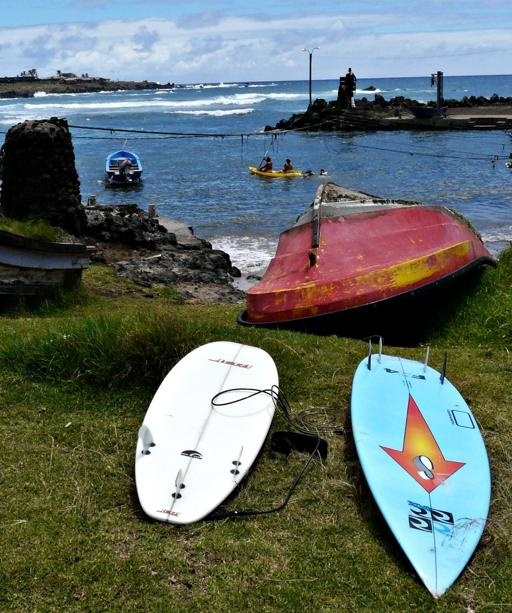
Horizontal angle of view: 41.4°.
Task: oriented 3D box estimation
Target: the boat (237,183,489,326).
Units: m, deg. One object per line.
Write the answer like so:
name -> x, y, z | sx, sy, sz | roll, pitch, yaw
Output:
boat -> 1.668, -0.791, 9.030 | 1.834, 1.048, 3.108 | -12, 2, 40

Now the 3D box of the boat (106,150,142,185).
boat -> -6.011, -6.154, 30.333 | 1.568, 1.257, 2.139 | -9, 22, -11

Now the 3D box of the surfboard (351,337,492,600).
surfboard -> 1.342, 1.205, 5.625 | 1.106, 0.597, 2.808 | 13, 28, 2
